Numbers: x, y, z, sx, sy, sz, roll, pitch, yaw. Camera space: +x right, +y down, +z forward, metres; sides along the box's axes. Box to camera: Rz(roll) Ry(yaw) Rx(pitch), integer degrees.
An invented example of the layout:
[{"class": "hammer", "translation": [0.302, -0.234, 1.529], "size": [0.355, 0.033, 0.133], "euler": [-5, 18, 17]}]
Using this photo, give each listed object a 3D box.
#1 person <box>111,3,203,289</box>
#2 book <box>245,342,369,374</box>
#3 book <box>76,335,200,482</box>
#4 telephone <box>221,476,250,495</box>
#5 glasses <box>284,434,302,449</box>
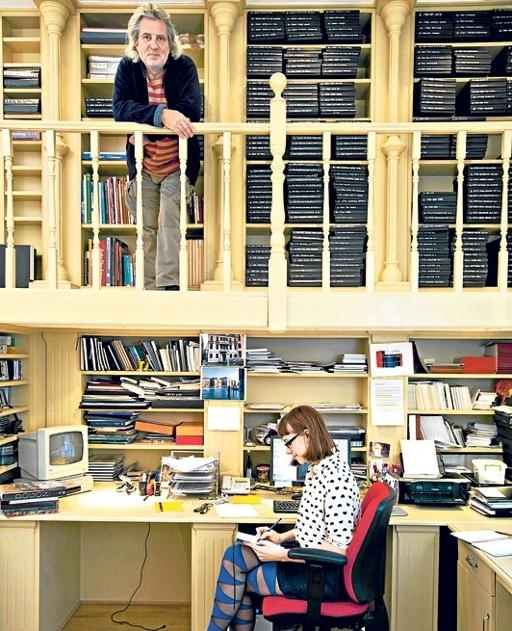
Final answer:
[{"class": "person", "translation": [-0.506, -0.878, 5.278], "size": [0.454, 1.492, 0.689], "euler": [-2, 2, -4]}, {"class": "book", "translation": [0.305, 0.274, 6.112], "size": [0.728, 0.159, 0.262], "euler": [-2, 2, 1]}, {"class": "book", "translation": [-0.713, 0.545, 6.064], "size": [0.853, 0.818, 0.307], "euler": [0, -1, 1]}, {"class": "telephone", "translation": [-0.121, 0.982, 5.853], "size": [0.140, 0.093, 0.104], "euler": [2, -27, -5]}, {"class": "glasses", "translation": [0.180, 0.621, 4.965], "size": [0.020, 0.069, 0.065], "euler": [38, -29, -2]}]
